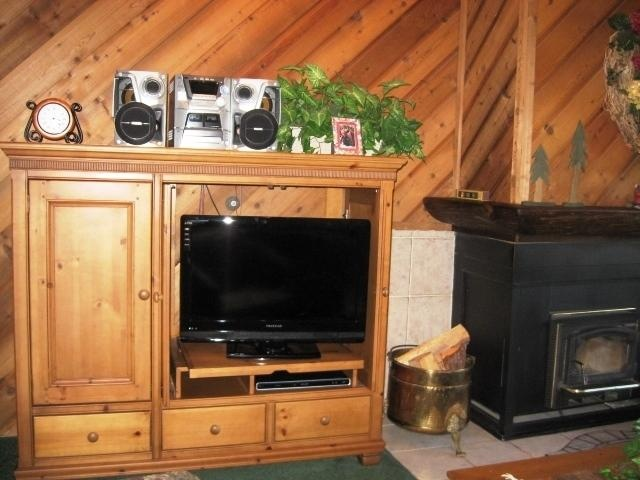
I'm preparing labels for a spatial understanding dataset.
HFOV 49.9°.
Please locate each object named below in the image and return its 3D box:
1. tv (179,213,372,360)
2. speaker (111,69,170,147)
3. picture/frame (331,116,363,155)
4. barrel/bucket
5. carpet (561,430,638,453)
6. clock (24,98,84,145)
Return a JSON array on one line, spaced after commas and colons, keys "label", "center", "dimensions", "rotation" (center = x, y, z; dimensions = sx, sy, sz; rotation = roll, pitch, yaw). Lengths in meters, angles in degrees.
[{"label": "tv", "center": [-0.268, 0.265, 3.986], "dimensions": [1.204, 0.786, 0.290], "rotation": [2, 0, -17]}, {"label": "speaker", "center": [-0.929, -0.690, 3.726], "dimensions": [0.322, 0.404, 0.242], "rotation": [2, 7, -1]}, {"label": "picture/frame", "center": [0.148, -0.581, 3.880], "dimensions": [0.268, 0.270, 0.021], "rotation": [0, -8, -21]}, {"label": "barrel/bucket", "center": [0.627, 0.904, 4.146], "dimensions": [0.592, 0.460, 0.517], "rotation": [-2, 5, -32]}, {"label": "carpet", "center": [1.688, 1.202, 4.188], "dimensions": [0.543, 0.015, 0.156], "rotation": [-5, 7, -14]}, {"label": "clock", "center": [-1.408, -0.618, 3.670], "dimensions": [0.276, 0.233, 0.365], "rotation": [1, 0, -21]}]
